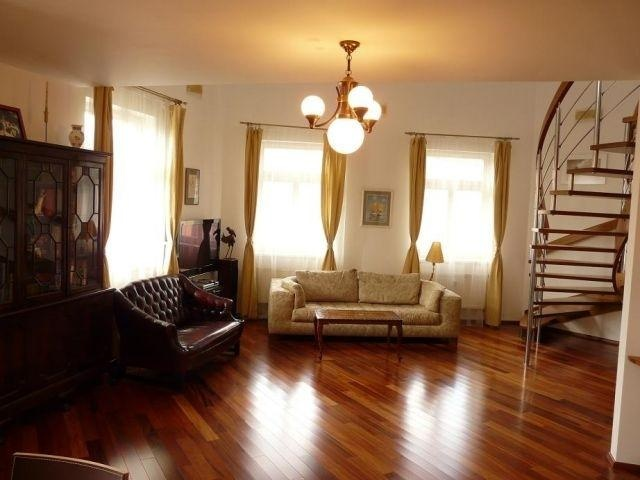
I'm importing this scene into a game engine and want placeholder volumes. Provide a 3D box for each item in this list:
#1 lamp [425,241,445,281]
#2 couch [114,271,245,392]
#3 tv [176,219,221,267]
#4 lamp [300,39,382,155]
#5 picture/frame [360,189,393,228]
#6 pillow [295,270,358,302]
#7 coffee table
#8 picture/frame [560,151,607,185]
[{"bbox_3d":[1.897,0.422,7.556,0.267,0.817,0.281,5,14,9],"label":"lamp"},{"bbox_3d":[-1.634,0.972,5.358,0.926,0.985,1.154,4,5,22],"label":"couch"},{"bbox_3d":[-1.754,0.077,6.739,1.113,0.728,0.035,3,2,38],"label":"tv"},{"bbox_3d":[0.205,-1.143,3.889,0.617,0.854,0.903,1,5,-13],"label":"lamp"},{"bbox_3d":[0.940,-0.556,7.726,0.565,0.735,0.051,1,2,-4],"label":"picture/frame"},{"bbox_3d":[0.128,0.756,7.237,0.961,0.597,0.306,0,-21,-4],"label":"pillow"},{"bbox_3d":[0.527,1.260,6.245,1.199,0.566,0.664,2,5,-4],"label":"coffee table"},{"bbox_3d":[4.270,-1.066,7.159,0.558,0.517,0.023,-4,5,-13],"label":"picture/frame"}]
